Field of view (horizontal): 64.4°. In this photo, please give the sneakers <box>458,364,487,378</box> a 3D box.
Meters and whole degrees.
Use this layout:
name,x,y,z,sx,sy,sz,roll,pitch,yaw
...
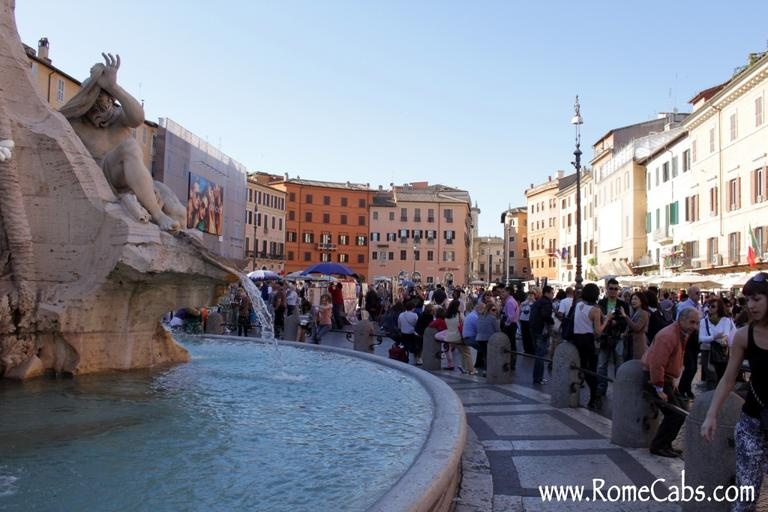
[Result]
name,x,y,z,sx,sy,sz,roll,pitch,yaw
sneakers,2.120,2.815,14.677,0.690,0.268,0.232,0,-2,0

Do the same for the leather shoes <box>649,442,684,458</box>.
name,x,y,z,sx,sy,sz,roll,pitch,yaw
leather shoes,3.780,2.623,8.216,0.449,0.187,0.147,-5,-4,25

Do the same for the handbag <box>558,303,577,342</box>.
name,x,y,z,sx,sy,sz,roll,pitch,yaw
handbag,3.596,1.241,11.590,0.254,0.592,0.440,-26,47,-33
